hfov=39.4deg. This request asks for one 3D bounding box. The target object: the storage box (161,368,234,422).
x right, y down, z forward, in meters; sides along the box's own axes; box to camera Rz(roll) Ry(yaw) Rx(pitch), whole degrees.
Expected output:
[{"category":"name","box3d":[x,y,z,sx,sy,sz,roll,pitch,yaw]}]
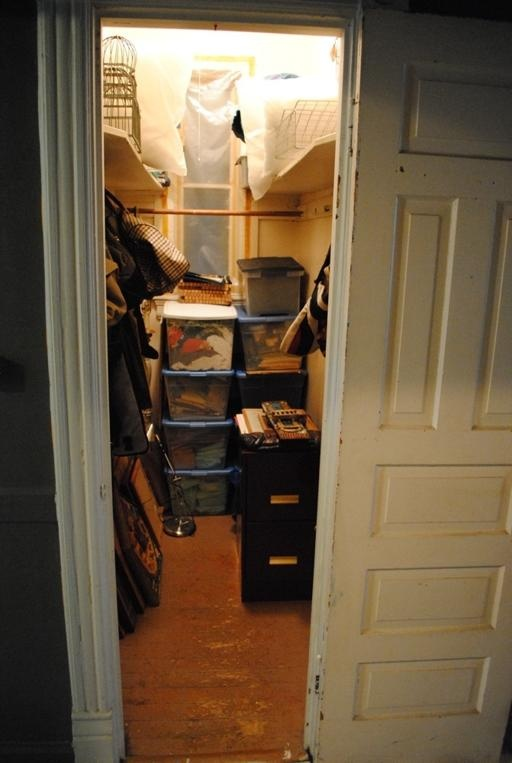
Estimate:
[{"category":"storage box","box3d":[-0.284,0.071,3.515,0.319,0.203,0.237,0,2,-7]}]

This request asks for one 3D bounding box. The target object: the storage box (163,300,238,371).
[{"category":"storage box","box3d":[-0.194,-0.188,3.556,0.444,0.308,0.403,1,4,15]}]

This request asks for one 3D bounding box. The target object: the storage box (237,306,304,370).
[{"category":"storage box","box3d":[0.019,-0.153,3.666,0.374,0.297,0.419,-5,-6,-16]}]

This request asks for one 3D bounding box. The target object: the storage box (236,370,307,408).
[{"category":"storage box","box3d":[0.077,0.034,3.520,0.282,0.155,0.185,0,3,-9]}]

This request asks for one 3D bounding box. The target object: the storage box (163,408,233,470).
[{"category":"storage box","box3d":[-0.294,0.304,3.578,0.329,0.210,0.236,-1,3,-10]}]

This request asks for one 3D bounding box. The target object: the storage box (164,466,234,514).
[{"category":"storage box","box3d":[-0.287,0.565,3.660,0.324,0.218,0.231,-1,7,-10]}]

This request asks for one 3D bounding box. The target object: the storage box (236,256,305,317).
[{"category":"storage box","box3d":[0.085,-0.478,3.592,0.335,0.253,0.374,-3,18,-6]}]
